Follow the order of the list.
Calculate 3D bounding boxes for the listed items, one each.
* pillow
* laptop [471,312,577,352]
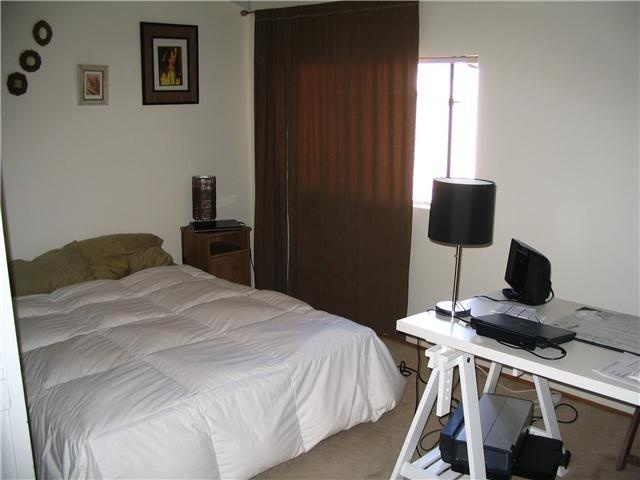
[{"bbox_3d":[-1.816,0.180,3.702,1.005,0.164,0.569,-12,39,-40],"label":"pillow"},{"bbox_3d":[0.935,0.423,2.164,0.458,0.097,0.262,5,8,29],"label":"laptop"}]
